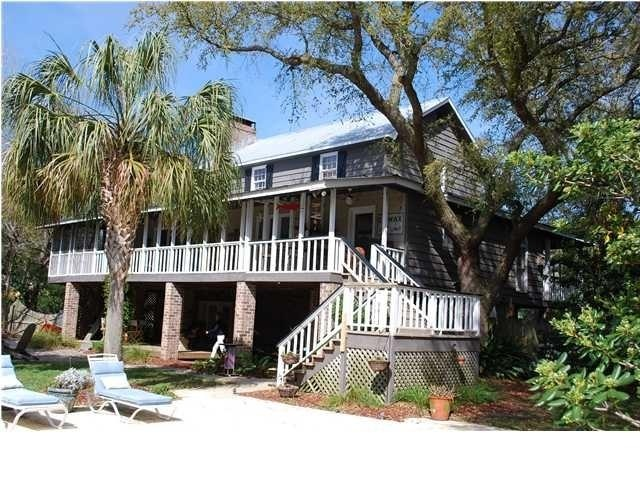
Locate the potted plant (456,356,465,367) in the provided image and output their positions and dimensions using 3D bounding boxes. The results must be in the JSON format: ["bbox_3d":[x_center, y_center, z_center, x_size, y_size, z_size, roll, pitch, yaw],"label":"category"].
[{"bbox_3d":[3.799,3.282,14.121,0.242,0.268,0.088,5,-6,-25],"label":"potted plant"}]

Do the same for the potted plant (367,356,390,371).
[{"bbox_3d":[1.378,2.961,12.331,0.483,0.336,0.508,0,-6,22],"label":"potted plant"}]

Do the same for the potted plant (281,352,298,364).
[{"bbox_3d":[-0.784,3.168,13.911,0.438,0.325,0.393,3,-5,-9],"label":"potted plant"}]

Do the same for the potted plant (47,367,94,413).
[{"bbox_3d":[-5.119,3.117,10.765,0.874,1.025,0.798,0,-15,11],"label":"potted plant"}]

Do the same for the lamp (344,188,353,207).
[{"bbox_3d":[1.051,-1.624,19.221,0.356,0.905,0.403,2,-10,-4],"label":"lamp"}]

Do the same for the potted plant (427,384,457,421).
[{"bbox_3d":[2.694,3.624,11.619,0.554,0.695,0.669,1,-23,10],"label":"potted plant"}]
